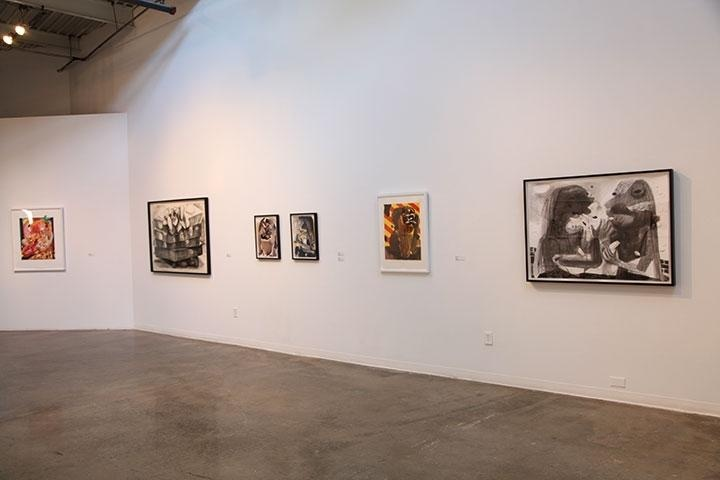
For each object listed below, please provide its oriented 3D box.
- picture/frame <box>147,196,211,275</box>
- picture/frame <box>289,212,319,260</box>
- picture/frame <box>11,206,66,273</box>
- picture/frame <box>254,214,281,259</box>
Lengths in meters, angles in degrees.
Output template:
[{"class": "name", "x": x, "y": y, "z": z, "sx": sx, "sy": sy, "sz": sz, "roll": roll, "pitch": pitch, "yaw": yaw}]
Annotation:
[{"class": "picture/frame", "x": -4.413, "y": -0.106, "z": 11.749, "sx": 2.076, "sy": 1.825, "sz": 0.078, "roll": -1, "pitch": 1, "yaw": 31}, {"class": "picture/frame", "x": -1.120, "y": -0.091, "z": 9.796, "sx": 0.693, "sy": 0.923, "sz": 0.138, "roll": 2, "pitch": 10, "yaw": 28}, {"class": "picture/frame", "x": -8.334, "y": -0.071, "z": 12.646, "sx": 1.615, "sy": 2.056, "sz": 0.140, "roll": 0, "pitch": 6, "yaw": 11}, {"class": "picture/frame", "x": -1.931, "y": -0.098, "z": 10.263, "sx": 0.889, "sy": 1.231, "sz": 0.092, "roll": 2, "pitch": 5, "yaw": 39}]
